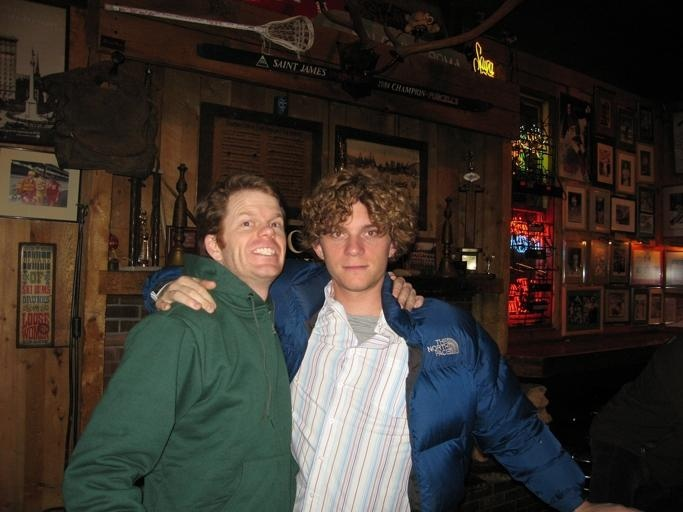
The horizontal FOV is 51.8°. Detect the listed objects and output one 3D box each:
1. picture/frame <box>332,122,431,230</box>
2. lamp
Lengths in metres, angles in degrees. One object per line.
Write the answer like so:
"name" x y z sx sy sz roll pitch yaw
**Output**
"picture/frame" 0.305 -0.704 5.925 1.126 0.990 0.087 4 -4 -33
"lamp" 0.195 -1.735 6.196 0.489 0.594 0.717 -4 -5 39
